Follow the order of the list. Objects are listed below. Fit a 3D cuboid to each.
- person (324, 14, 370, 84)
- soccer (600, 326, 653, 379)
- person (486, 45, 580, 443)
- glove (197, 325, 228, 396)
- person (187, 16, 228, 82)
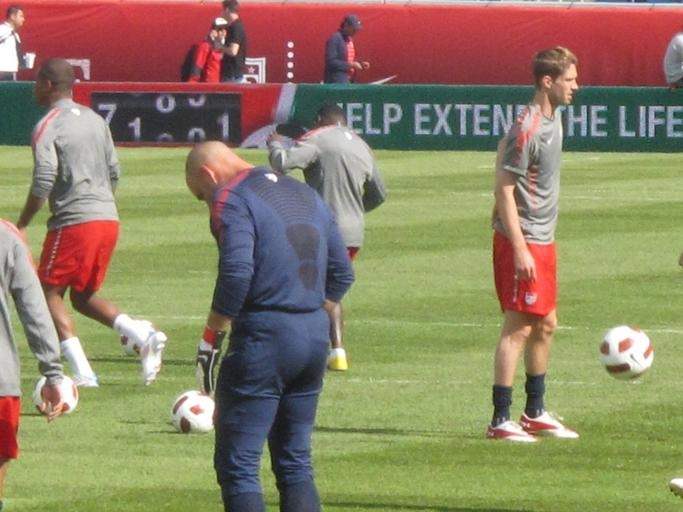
[{"bbox_3d":[-0.020,-3.771,33.565,0.839,1.469,0.779,-17,34,-36],"label":"person"},{"bbox_3d":[2.828,0.928,17.495,0.526,0.472,0.699,4,14,17],"label":"soccer"},{"bbox_3d":[1.836,-0.121,17.109,0.737,3.711,1.020,2,15,6],"label":"person"},{"bbox_3d":[-1.145,0.860,15.546,0.234,0.679,0.294,-16,44,-27],"label":"glove"},{"bbox_3d":[-2.478,-3.862,33.428,0.707,1.296,0.671,16,31,31],"label":"person"}]
